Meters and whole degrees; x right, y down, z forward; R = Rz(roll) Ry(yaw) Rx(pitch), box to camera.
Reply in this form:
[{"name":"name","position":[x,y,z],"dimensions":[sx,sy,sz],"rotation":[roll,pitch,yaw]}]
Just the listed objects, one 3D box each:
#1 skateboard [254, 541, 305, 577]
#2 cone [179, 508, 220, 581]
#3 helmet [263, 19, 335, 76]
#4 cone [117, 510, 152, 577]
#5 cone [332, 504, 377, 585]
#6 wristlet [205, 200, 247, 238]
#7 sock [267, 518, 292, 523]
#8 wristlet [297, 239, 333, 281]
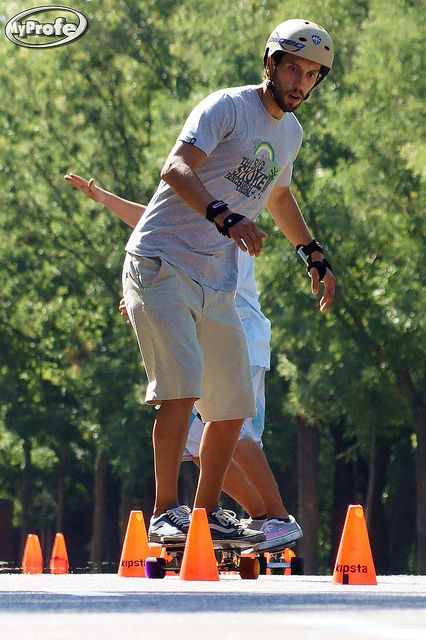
[{"name":"skateboard","position":[0.392,1.424,9.321],"dimensions":[0.326,0.296,0.364],"rotation":[-2,-15,2]},{"name":"cone","position":[-0.072,1.096,7.567],"dimensions":[0.188,0.354,0.222],"rotation":[2,-3,-3]},{"name":"helmet","position":[0.424,-1.375,7.826],"dimensions":[0.316,0.260,0.149],"rotation":[2,-3,-2]},{"name":"cone","position":[-0.436,1.213,8.507],"dimensions":[0.312,0.327,0.250],"rotation":[-2,0,-25]},{"name":"cone","position":[0.744,1.223,8.173],"dimensions":[0.195,0.412,0.197],"rotation":[-5,-11,35]},{"name":"wristlet","position":[0.048,-0.480,7.344],"dimensions":[0.159,0.197,0.138],"rotation":[-6,8,-27]},{"name":"sock","position":[0.352,1.116,8.652],"dimensions":[0.142,0.020,0.114],"rotation":[1,-4,17]},{"name":"wristlet","position":[0.526,-0.330,8.441],"dimensions":[0.142,0.240,0.065],"rotation":[-5,-36,-46]}]
